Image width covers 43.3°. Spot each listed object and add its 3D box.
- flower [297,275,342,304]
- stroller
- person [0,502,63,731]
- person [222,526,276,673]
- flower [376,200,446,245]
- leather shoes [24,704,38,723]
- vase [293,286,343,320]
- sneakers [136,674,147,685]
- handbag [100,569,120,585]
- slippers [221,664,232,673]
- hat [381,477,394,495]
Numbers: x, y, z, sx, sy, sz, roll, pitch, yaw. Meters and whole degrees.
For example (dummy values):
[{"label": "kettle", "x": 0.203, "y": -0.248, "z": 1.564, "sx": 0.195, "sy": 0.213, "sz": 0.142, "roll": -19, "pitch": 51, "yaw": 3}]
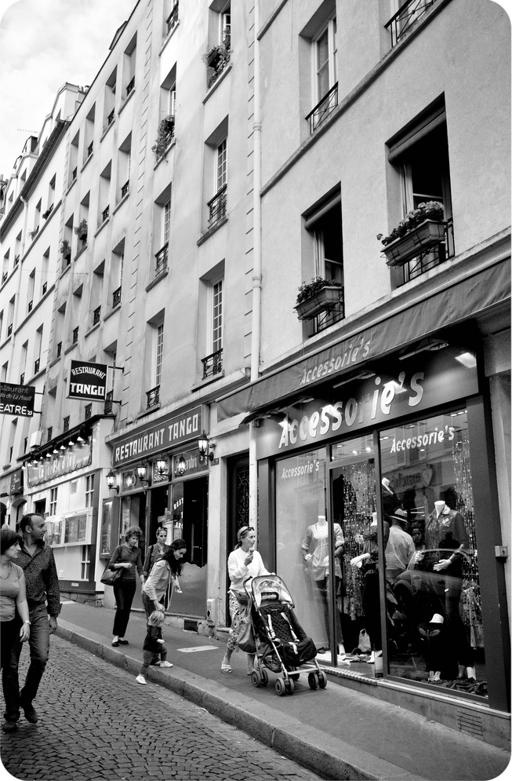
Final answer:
[{"label": "flower", "x": 0.752, "y": -1.325, "z": 8.403, "sx": 0.365, "sy": 0.164, "sz": 0.381, "roll": -12, "pitch": 14, "yaw": 46}, {"label": "stroller", "x": 0.231, "y": 2.373, "z": 6.419, "sx": 0.549, "sy": 1.318, "sz": 0.927, "roll": 6, "pitch": -22, "yaw": -24}, {"label": "person", "x": -1.808, "y": 1.791, "z": 5.212, "sx": 0.404, "sy": 1.585, "sz": 0.969, "roll": 3, "pitch": -11, "yaw": -18}, {"label": "person", "x": -0.116, "y": 2.387, "z": 7.234, "sx": 0.424, "sy": 1.708, "sz": 0.471, "roll": 1, "pitch": 7, "yaw": -5}, {"label": "flower", "x": 1.556, "y": -1.674, "z": 6.392, "sx": 0.344, "sy": 0.186, "sz": 0.506, "roll": -28, "pitch": -7, "yaw": -41}, {"label": "leather shoes", "x": -1.689, "y": 2.415, "z": 4.826, "sx": 0.058, "sy": 0.099, "sz": 0.175, "roll": 7, "pitch": -15, "yaw": -29}, {"label": "vase", "x": 0.815, "y": -1.152, "z": 8.464, "sx": 0.364, "sy": 0.334, "sz": 0.689, "roll": 7, "pitch": -15, "yaw": -32}, {"label": "sneakers", "x": -1.225, "y": 3.062, "z": 6.828, "sx": 0.061, "sy": 0.080, "sz": 0.131, "roll": -40, "pitch": 25, "yaw": -12}, {"label": "handbag", "x": -2.143, "y": 2.722, "z": 9.422, "sx": 0.154, "sy": 0.304, "sz": 0.089, "roll": 2, "pitch": -15, "yaw": 20}, {"label": "slippers", "x": -0.332, "y": 3.024, "z": 7.053, "sx": 0.110, "sy": 0.097, "sz": 0.166, "roll": 0, "pitch": -13, "yaw": -1}, {"label": "hat", "x": 1.343, "y": 0.982, "z": 6.622, "sx": 0.027, "sy": 0.162, "sz": 0.091, "roll": -6, "pitch": -36, "yaw": -6}]
